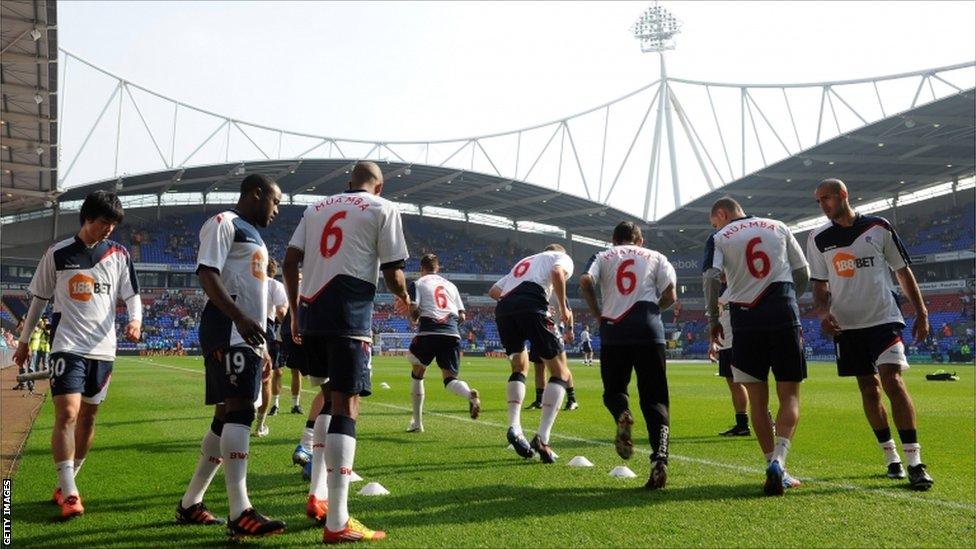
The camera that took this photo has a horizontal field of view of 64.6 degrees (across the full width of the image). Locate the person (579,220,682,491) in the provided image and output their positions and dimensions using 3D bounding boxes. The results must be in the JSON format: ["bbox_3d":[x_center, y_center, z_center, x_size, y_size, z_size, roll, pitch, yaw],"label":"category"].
[{"bbox_3d":[1.999,0.980,10.599,1.210,3.715,0.802,-4,-11,13],"label":"person"}]

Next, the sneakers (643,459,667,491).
[{"bbox_3d":[2.180,2.562,9.929,0.297,0.347,0.113,-1,19,3],"label":"sneakers"}]

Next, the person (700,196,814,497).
[{"bbox_3d":[3.622,0.842,10.285,1.294,3.959,0.591,-6,-11,20],"label":"person"}]

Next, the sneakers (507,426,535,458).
[{"bbox_3d":[0.451,2.436,11.250,0.301,0.222,0.638,1,23,-14],"label":"sneakers"}]

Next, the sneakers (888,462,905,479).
[{"bbox_3d":[5.497,2.626,10.389,0.242,0.208,0.221,-4,-10,16],"label":"sneakers"}]

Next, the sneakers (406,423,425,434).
[{"bbox_3d":[-1.283,2.609,13.217,0.131,0.160,0.354,5,-9,-41],"label":"sneakers"}]

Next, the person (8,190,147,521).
[{"bbox_3d":[-5.178,0.965,9.804,1.286,4.006,0.881,3,-12,-25],"label":"person"}]

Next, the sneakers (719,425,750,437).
[{"bbox_3d":[4.155,2.614,12.936,0.593,0.241,0.189,1,-6,11],"label":"sneakers"}]

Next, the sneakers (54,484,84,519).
[{"bbox_3d":[-5.174,2.795,9.411,0.230,0.249,0.609,0,-7,-42],"label":"sneakers"}]

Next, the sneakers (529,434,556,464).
[{"bbox_3d":[0.784,2.518,11.125,0.179,0.474,0.235,-38,20,6],"label":"sneakers"}]
